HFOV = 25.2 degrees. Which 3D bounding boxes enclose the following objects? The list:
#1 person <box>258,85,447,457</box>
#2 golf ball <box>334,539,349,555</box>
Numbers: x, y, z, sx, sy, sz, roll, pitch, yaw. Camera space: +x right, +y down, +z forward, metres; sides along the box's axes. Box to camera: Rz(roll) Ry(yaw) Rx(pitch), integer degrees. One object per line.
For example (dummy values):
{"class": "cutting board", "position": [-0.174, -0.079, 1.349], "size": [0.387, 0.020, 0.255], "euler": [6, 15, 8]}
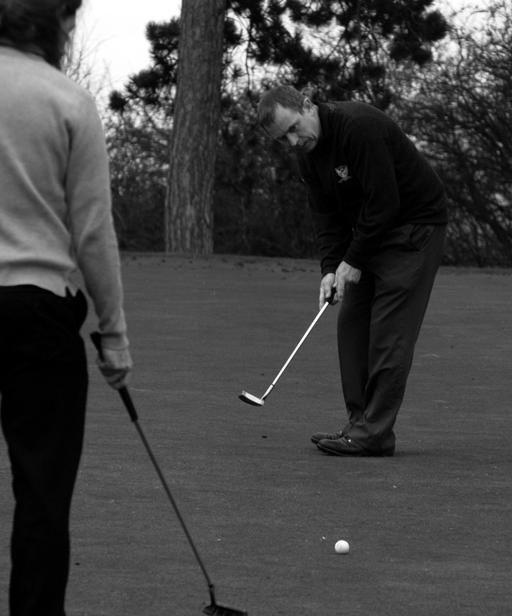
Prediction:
{"class": "person", "position": [0.436, -0.168, 4.922], "size": [0.711, 1.523, 0.596], "euler": [3, 7, 16]}
{"class": "golf ball", "position": [0.260, 0.717, 3.494], "size": [0.034, 0.038, 0.037], "euler": [1, 18, 0]}
